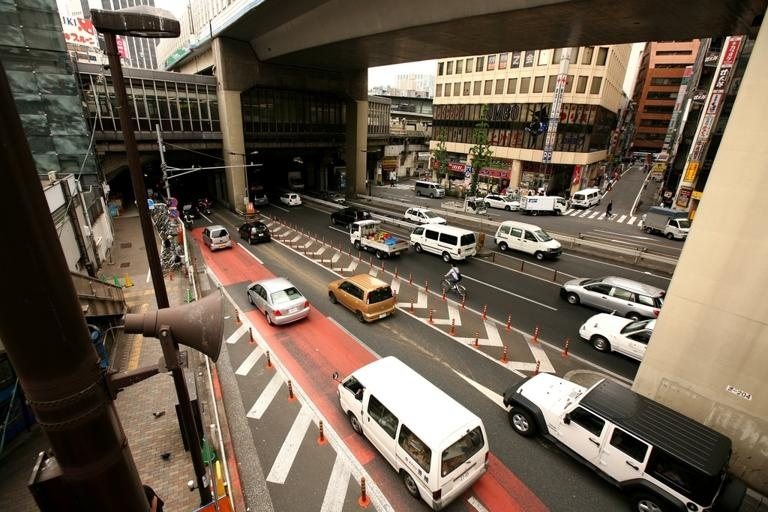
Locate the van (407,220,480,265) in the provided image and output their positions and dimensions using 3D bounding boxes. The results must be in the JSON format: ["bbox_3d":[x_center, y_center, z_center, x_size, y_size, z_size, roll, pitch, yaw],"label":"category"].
[{"bbox_3d":[4.086,-1.074,31.737,2.303,2.228,4.713,-12,22,-40],"label":"van"}]

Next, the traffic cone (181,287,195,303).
[{"bbox_3d":[-9.856,1.976,22.603,0.542,1.008,0.536,-11,39,-27],"label":"traffic cone"}]

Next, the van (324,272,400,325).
[{"bbox_3d":[-1.202,1.913,23.897,2.085,1.946,4.058,-12,25,-38],"label":"van"}]

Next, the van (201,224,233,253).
[{"bbox_3d":[-12.265,-1.569,32.703,1.390,1.224,2.356,-15,33,-32],"label":"van"}]

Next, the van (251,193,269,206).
[{"bbox_3d":[-14.066,-6.393,50.879,1.319,1.046,2.945,-5,24,-22],"label":"van"}]

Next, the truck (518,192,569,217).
[{"bbox_3d":[17.579,-5.807,48.942,4.441,2.164,2.214,-2,25,-1],"label":"truck"}]

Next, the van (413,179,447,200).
[{"bbox_3d":[6.130,-9.069,60.021,3.736,1.936,2.104,14,24,32],"label":"van"}]

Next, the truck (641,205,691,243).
[{"bbox_3d":[26.185,-2.965,41.155,2.033,2.427,3.959,4,14,-23],"label":"truck"}]

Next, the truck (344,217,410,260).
[{"bbox_3d":[-0.399,-1.252,31.997,2.025,2.057,4.381,-12,22,-38],"label":"truck"}]

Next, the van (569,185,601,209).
[{"bbox_3d":[24.438,-7.082,53.990,4.979,2.048,1.644,-15,25,-42],"label":"van"}]

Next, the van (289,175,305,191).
[{"bbox_3d":[-12.300,-10.657,63.187,2.014,1.719,3.063,-4,32,-16],"label":"van"}]

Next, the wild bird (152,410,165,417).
[{"bbox_3d":[-8.434,5.954,16.859,0.214,0.074,0.210,0,11,-35],"label":"wild bird"}]

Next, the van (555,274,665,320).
[{"bbox_3d":[12.446,2.154,24.323,2.256,1.869,5.242,-10,22,-40],"label":"van"}]

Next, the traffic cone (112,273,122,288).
[{"bbox_3d":[-14.445,1.335,24.318,0.278,0.348,1.250,10,-11,-14],"label":"traffic cone"}]

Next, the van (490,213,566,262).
[{"bbox_3d":[10.562,-1.283,32.929,4.366,2.168,2.143,17,20,40],"label":"van"}]

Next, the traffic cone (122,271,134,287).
[{"bbox_3d":[-14.738,1.331,25.899,0.490,0.665,0.473,-9,26,-15],"label":"traffic cone"}]

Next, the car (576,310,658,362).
[{"bbox_3d":[10.873,3.723,20.790,3.395,1.283,1.649,18,37,32],"label":"car"}]
